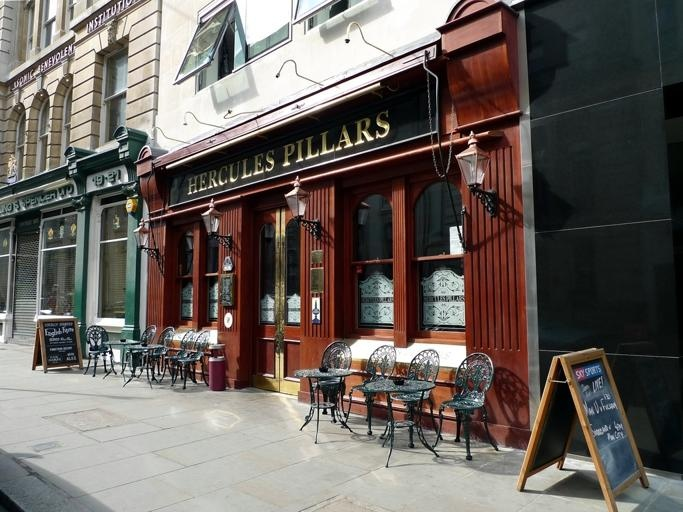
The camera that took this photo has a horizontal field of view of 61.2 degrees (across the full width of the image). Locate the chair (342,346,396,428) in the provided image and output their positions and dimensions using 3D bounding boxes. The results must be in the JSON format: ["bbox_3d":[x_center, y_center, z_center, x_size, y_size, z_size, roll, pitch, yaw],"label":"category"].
[{"bbox_3d":[0.511,2.082,9.214,0.583,1.312,0.804,1,0,38],"label":"chair"}]

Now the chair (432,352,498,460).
[{"bbox_3d":[1.794,2.081,8.299,0.734,1.454,0.781,5,-4,-21],"label":"chair"}]

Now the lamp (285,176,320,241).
[{"bbox_3d":[-0.783,-0.914,10.845,0.673,1.204,0.636,-1,1,-35],"label":"lamp"}]

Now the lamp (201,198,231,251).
[{"bbox_3d":[-2.758,-0.687,12.655,0.623,1.141,0.909,-1,1,-29],"label":"lamp"}]

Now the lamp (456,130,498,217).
[{"bbox_3d":[2.042,-1.201,8.527,0.663,1.244,0.311,-1,1,-37],"label":"lamp"}]

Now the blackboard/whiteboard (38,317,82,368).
[{"bbox_3d":[-7.129,2.184,14.559,0.814,1.649,1.104,-4,-2,44],"label":"blackboard/whiteboard"}]

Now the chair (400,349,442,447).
[{"bbox_3d":[1.129,2.066,8.752,0.778,1.225,0.742,-4,1,-23],"label":"chair"}]

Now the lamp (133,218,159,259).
[{"bbox_3d":[-4.948,-0.449,14.686,0.577,0.993,0.773,-1,1,-22],"label":"lamp"}]

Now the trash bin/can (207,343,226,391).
[{"bbox_3d":[-2.621,2.322,12.206,0.333,0.929,0.491,-1,1,-10],"label":"trash bin/can"}]
